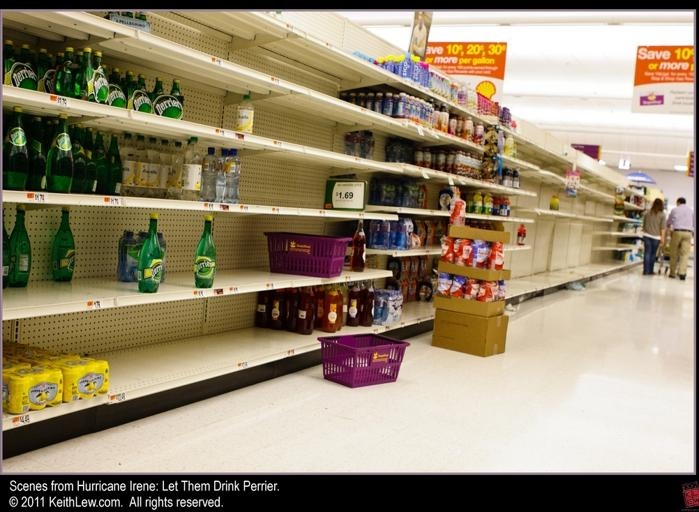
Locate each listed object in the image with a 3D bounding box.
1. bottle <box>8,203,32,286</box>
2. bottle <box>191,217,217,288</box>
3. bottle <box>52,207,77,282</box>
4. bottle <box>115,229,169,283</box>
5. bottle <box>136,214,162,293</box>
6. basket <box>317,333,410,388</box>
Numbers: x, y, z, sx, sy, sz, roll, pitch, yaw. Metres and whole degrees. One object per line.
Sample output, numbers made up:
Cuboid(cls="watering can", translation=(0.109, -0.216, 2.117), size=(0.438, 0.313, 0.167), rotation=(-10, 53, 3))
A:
Cuboid(cls="bottle", translation=(-1.908, -0.054, 2.734), size=(0.101, 0.456, 0.120), rotation=(1, 7, -32))
Cuboid(cls="bottle", translation=(-0.993, -0.039, 3.262), size=(0.132, 0.484, 0.280), rotation=(3, 6, -17))
Cuboid(cls="bottle", translation=(-1.781, -0.072, 2.938), size=(0.149, 0.456, 0.101), rotation=(8, 7, 28))
Cuboid(cls="bottle", translation=(-1.370, 0.004, 3.074), size=(0.149, 0.388, 0.386), rotation=(1, -1, 39))
Cuboid(cls="bottle", translation=(-1.259, -0.028, 2.999), size=(0.142, 0.479, 0.305), rotation=(2, 7, -23))
Cuboid(cls="basket", translation=(0.096, 0.849, 3.891), size=(0.587, 0.265, 0.435), rotation=(11, -3, -36))
